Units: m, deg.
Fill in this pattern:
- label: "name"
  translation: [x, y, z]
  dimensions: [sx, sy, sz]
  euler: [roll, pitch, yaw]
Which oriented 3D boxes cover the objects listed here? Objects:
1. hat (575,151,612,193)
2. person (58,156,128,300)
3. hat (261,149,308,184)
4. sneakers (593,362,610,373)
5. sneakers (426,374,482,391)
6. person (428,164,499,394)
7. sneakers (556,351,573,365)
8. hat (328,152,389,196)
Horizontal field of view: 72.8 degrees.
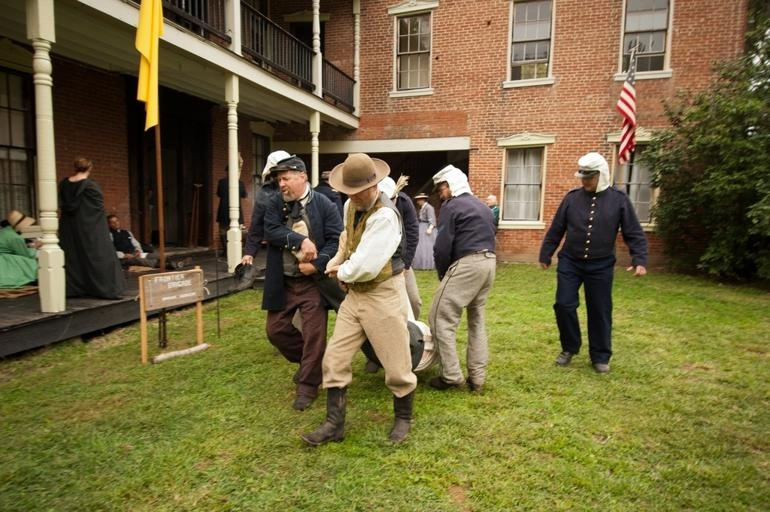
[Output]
- label: "hat"
  translation: [2.697, -1.103, 6.818]
  dimensions: [0.518, 0.502, 0.283]
  euler: [-2, 6, -13]
- label: "person"
  translation: [-4.585, -0.431, 8.087]
  dimensions: [0.893, 2.188, 0.422]
  euler: [-2, 6, -13]
- label: "hat"
  translation: [-1.147, -1.137, 6.415]
  dimensions: [0.463, 0.291, 0.624]
  euler: [0, -1, 27]
- label: "sneakers"
  translation: [2.819, 1.433, 6.785]
  dimensions: [0.213, 0.110, 0.157]
  euler: [0, 5, 8]
- label: "sneakers"
  translation: [0.820, 1.533, 6.445]
  dimensions: [0.690, 0.235, 0.206]
  euler: [-3, 0, -1]
- label: "person"
  translation: [0.956, 0.241, 6.420]
  dimensions: [0.746, 2.720, 0.702]
  euler: [0, 6, 11]
- label: "sneakers"
  translation: [2.390, 1.372, 6.993]
  dimensions: [0.113, 0.116, 0.330]
  euler: [-2, -6, 40]
- label: "hat"
  translation: [-0.278, -0.841, 5.340]
  dimensions: [0.586, 0.188, 0.462]
  euler: [-15, 31, 6]
